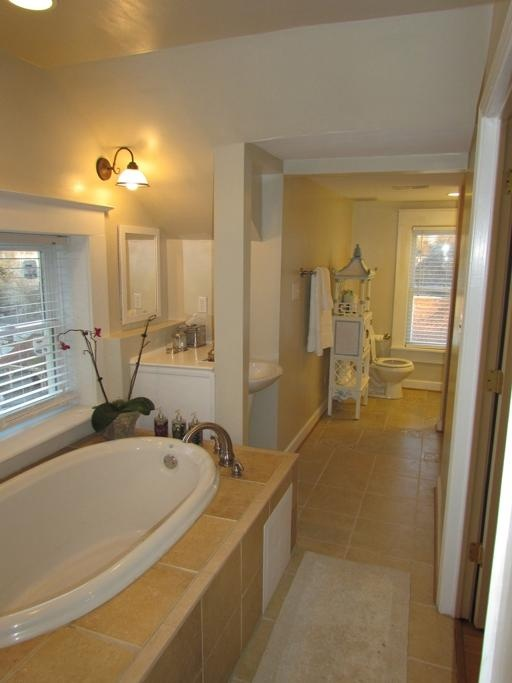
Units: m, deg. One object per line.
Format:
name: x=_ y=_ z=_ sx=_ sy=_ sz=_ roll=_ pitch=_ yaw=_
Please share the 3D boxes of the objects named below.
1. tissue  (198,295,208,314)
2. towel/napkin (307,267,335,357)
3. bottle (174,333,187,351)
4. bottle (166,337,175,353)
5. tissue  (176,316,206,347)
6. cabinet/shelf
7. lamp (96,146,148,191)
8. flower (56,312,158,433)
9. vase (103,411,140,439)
tissue : x=-0.370 y=-0.257 z=3.487 sx=0.073 sy=0.120 sz=0.015 roll=4 pitch=9 yaw=24
towel/napkin: x=0.501 y=-0.233 z=4.001 sx=0.193 sy=0.697 sz=0.331 roll=2 pitch=9 yaw=11
bottle: x=-0.488 y=0.002 z=3.262 sx=0.076 sy=0.109 sz=0.109 roll=0 pitch=10 yaw=0
bottle: x=-0.552 y=0.020 z=3.240 sx=0.079 sy=0.096 sz=0.082 roll=1 pitch=12 yaw=2
tissue : x=-0.412 y=-0.071 z=3.390 sx=0.139 sy=0.235 sz=0.234 roll=6 pitch=13 yaw=28
cabinet/shelf: x=0.897 y=0.194 z=4.905 sx=0.374 sy=0.968 sz=0.574 roll=2 pitch=9 yaw=12
lamp: x=-0.664 y=-0.872 z=2.534 sx=0.227 sy=0.208 sz=0.135 roll=3 pitch=8 yaw=12
flower: x=-0.737 y=0.195 z=2.575 sx=0.407 sy=0.633 sz=0.508 roll=1 pitch=7 yaw=3
vase: x=-0.686 y=0.411 z=2.580 sx=0.163 sy=0.129 sz=0.139 roll=-6 pitch=8 yaw=-44
